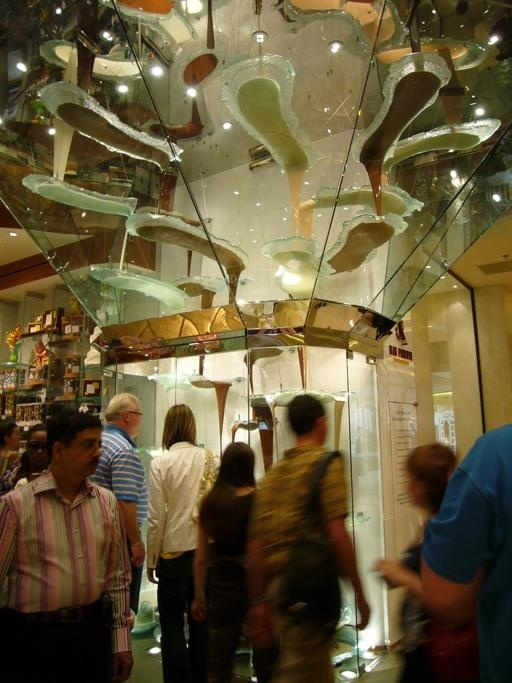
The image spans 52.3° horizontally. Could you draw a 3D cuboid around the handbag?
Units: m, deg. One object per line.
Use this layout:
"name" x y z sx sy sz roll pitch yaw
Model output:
"handbag" 0.160 0.690 1.471 0.184 0.255 0.086 6 -16 -24
